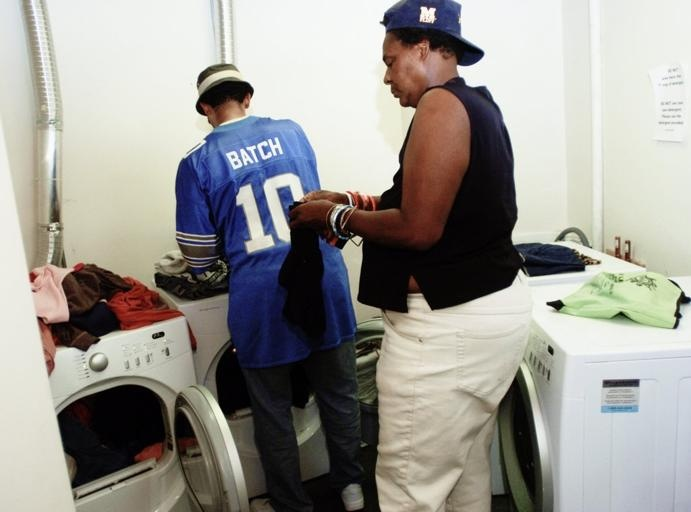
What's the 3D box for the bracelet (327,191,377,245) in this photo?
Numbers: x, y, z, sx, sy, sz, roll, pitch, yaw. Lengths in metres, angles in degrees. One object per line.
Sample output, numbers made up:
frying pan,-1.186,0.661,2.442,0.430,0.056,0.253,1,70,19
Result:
bracelet,0.023,-0.139,1.715,0.138,0.085,0.187,9,22,29
